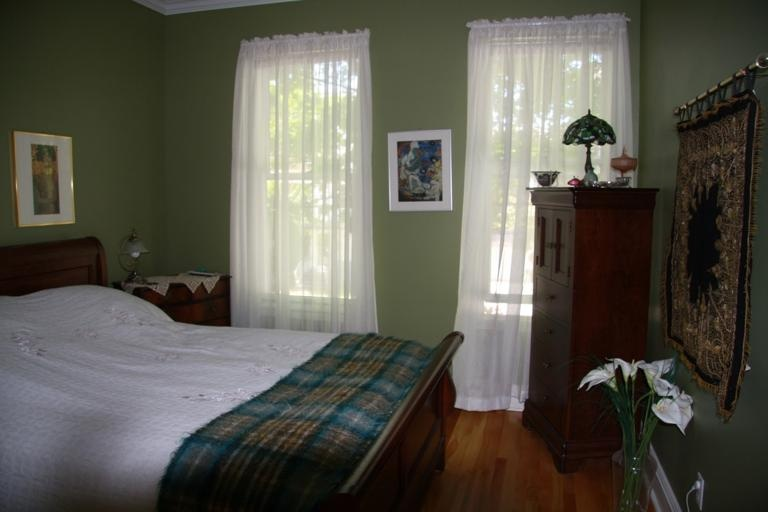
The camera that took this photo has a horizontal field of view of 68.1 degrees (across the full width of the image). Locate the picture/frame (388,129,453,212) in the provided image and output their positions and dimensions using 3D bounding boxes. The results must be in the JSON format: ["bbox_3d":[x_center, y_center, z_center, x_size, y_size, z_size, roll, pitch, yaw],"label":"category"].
[{"bbox_3d":[0.394,-0.863,5.611,0.735,0.954,0.035,-1,1,12],"label":"picture/frame"}]

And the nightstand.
[{"bbox_3d":[-2.037,0.452,5.727,0.550,0.776,0.801,3,9,21],"label":"nightstand"}]

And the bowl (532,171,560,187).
[{"bbox_3d":[1.396,-0.654,4.883,0.130,0.127,0.149,-14,20,-41],"label":"bowl"}]

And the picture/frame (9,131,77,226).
[{"bbox_3d":[-3.016,-0.682,5.059,0.112,0.842,0.600,6,16,24],"label":"picture/frame"}]
